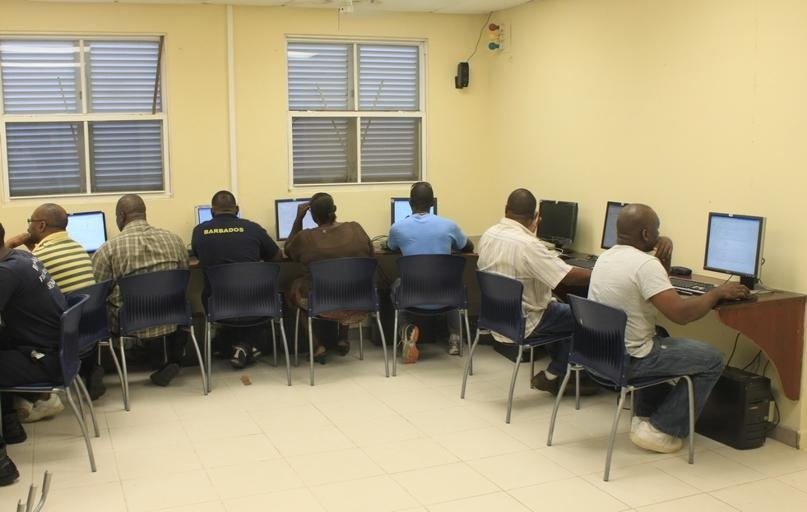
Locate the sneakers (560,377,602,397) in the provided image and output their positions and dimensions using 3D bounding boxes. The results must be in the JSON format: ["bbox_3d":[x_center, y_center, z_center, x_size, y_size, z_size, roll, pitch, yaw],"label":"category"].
[{"bbox_3d":[1.486,1.104,5.134,0.292,0.105,0.281,1,4,2],"label":"sneakers"}]

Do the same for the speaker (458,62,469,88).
[{"bbox_3d":[0.672,-2.005,6.781,0.165,0.275,0.114,-4,12,-14],"label":"speaker"}]

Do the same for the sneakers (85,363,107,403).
[{"bbox_3d":[-2.531,1.052,5.052,0.062,0.241,0.183,13,23,33],"label":"sneakers"}]

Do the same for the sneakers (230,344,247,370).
[{"bbox_3d":[-1.495,0.925,5.657,0.164,0.190,0.200,7,13,17],"label":"sneakers"}]

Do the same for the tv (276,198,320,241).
[{"bbox_3d":[-1.070,-0.362,6.128,0.532,0.462,0.045,-1,5,-6],"label":"tv"}]

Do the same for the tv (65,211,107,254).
[{"bbox_3d":[-2.923,-0.210,5.630,0.434,0.400,0.060,-6,5,-29],"label":"tv"}]

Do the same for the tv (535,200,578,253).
[{"bbox_3d":[1.467,-0.280,5.838,0.236,0.544,0.549,2,3,-34],"label":"tv"}]

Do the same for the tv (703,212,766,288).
[{"bbox_3d":[2.468,-0.050,4.553,0.188,0.577,0.467,12,7,-39],"label":"tv"}]

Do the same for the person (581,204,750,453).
[{"bbox_3d":[1.763,0.511,4.266,1.026,1.719,0.485,-4,12,-12],"label":"person"}]

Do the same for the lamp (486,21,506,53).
[{"bbox_3d":[1.000,-2.411,6.688,0.111,0.321,0.243,-7,13,-25],"label":"lamp"}]

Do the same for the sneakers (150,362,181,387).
[{"bbox_3d":[-2.101,1.042,5.361,0.163,0.166,0.255,6,17,19],"label":"sneakers"}]

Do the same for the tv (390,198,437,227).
[{"bbox_3d":[0.067,-0.509,6.685,0.532,0.310,0.322,0,2,-11],"label":"tv"}]

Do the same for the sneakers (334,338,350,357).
[{"bbox_3d":[-0.597,0.902,6.037,0.146,0.139,0.183,7,9,35],"label":"sneakers"}]
